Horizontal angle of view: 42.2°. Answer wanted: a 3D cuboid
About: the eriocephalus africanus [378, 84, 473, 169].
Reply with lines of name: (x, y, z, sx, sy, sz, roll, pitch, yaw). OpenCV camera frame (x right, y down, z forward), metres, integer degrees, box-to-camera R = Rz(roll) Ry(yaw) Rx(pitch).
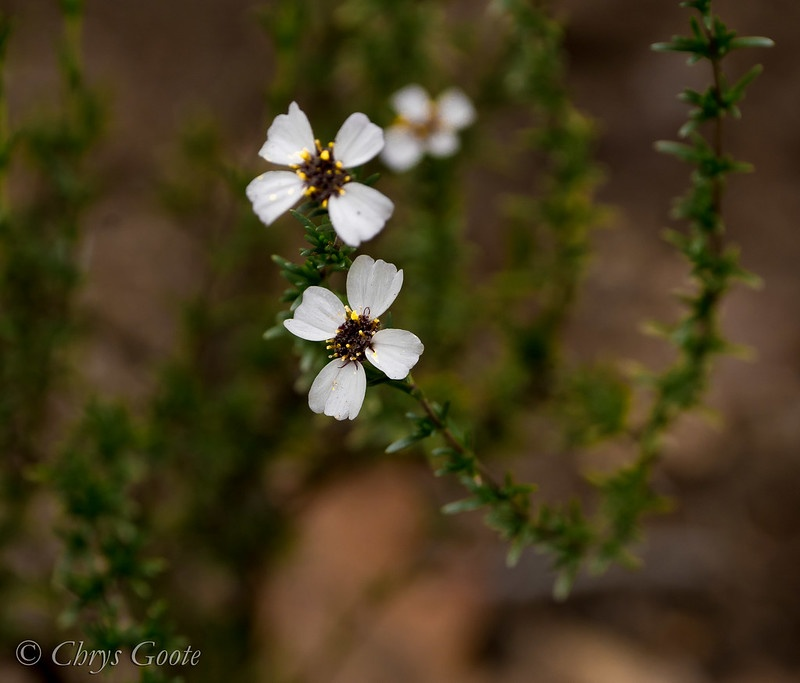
eriocephalus africanus: (0.129, -0.933, 4.514, 0.388, 0.115, 0.454, -1, 91, 5)

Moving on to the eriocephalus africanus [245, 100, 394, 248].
eriocephalus africanus: (-0.281, -0.590, 3.665, 0.502, 0.095, 0.525, 41, 85, 13)

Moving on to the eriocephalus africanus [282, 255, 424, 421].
eriocephalus africanus: (-0.169, -0.007, 3.723, 0.502, 0.188, 0.586, 19, 85, 3)
